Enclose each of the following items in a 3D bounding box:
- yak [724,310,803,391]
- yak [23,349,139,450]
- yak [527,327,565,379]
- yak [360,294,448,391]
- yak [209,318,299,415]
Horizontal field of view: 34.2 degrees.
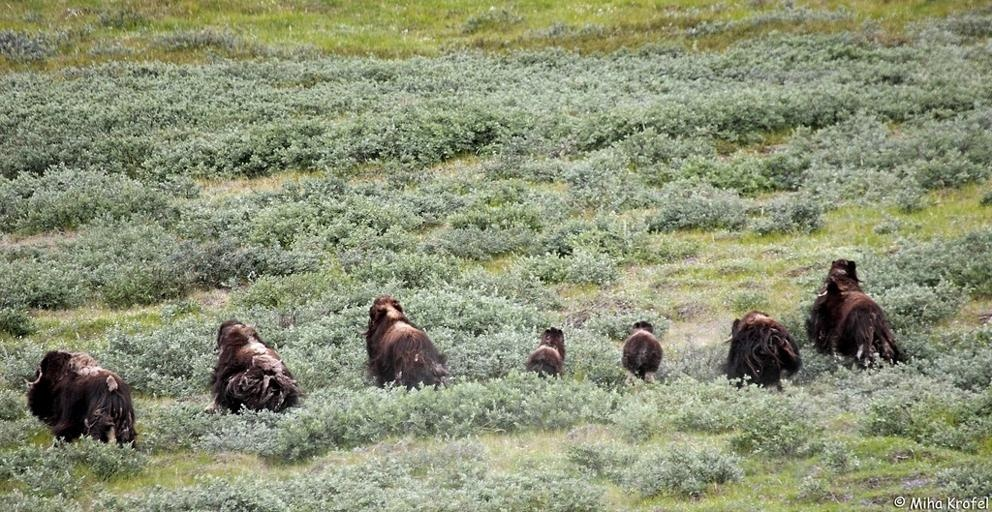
[{"bbox_3d":[11.742,4.044,71.175,3.521,2.987,5.128,-4,4,4],"label":"yak"},{"bbox_3d":[-17.347,5.846,67.638,4.237,3.917,1.340,-1,13,12],"label":"yak"},{"bbox_3d":[2.280,4.052,70.095,1.870,1.857,1.315,-14,16,-40],"label":"yak"},{"bbox_3d":[-3.756,3.467,70.162,2.787,3.364,4.494,-20,47,-22],"label":"yak"},{"bbox_3d":[-10.452,4.663,68.775,3.401,3.586,1.488,-2,13,8],"label":"yak"}]
